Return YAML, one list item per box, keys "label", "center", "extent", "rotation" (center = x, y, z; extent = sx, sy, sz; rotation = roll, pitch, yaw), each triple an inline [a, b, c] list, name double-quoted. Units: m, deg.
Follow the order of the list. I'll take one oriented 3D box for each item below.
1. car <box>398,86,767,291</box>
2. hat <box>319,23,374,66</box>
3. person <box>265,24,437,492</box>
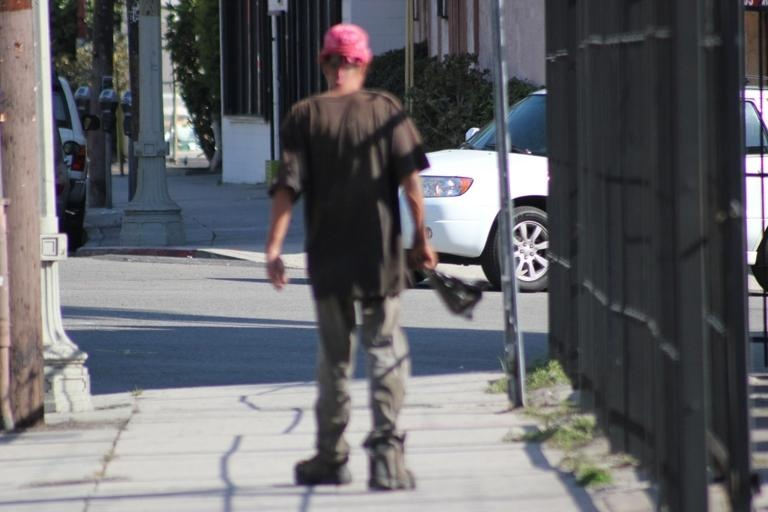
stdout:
- label: "car"
  center: [2.041, -0.729, 20.992]
  extent: [3.507, 1.773, 1.836]
  rotation: [0, 1, -3]
- label: "hat"
  center: [-0.314, -1.725, 16.199]
  extent: [0.487, 0.300, 0.474]
  rotation: [-7, 12, -38]
- label: "person"
  center: [-0.239, 0.012, 16.004]
  extent: [1.247, 3.533, 0.782]
  rotation: [0, 11, 1]
